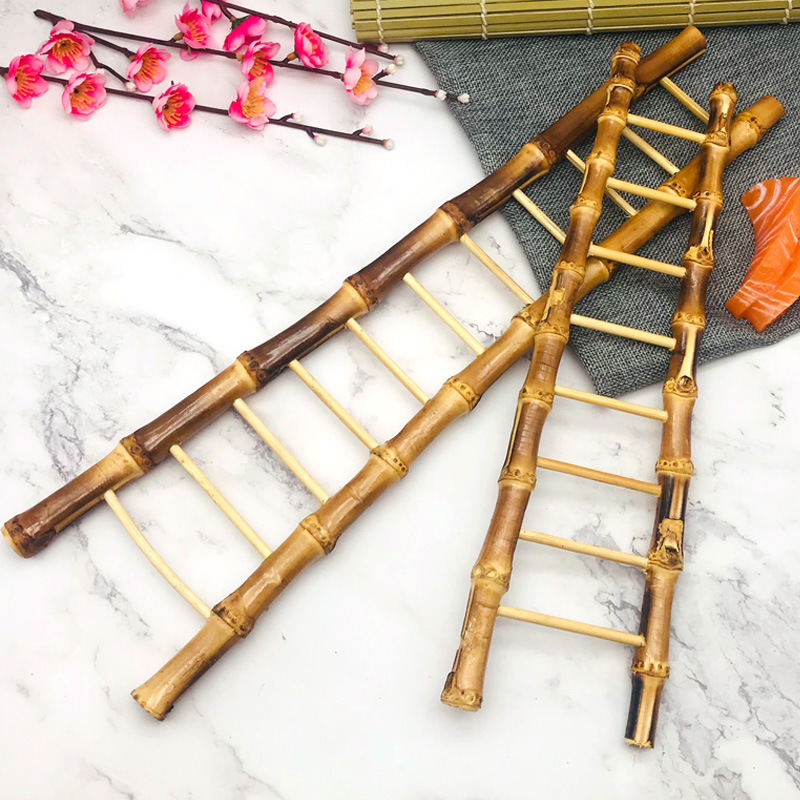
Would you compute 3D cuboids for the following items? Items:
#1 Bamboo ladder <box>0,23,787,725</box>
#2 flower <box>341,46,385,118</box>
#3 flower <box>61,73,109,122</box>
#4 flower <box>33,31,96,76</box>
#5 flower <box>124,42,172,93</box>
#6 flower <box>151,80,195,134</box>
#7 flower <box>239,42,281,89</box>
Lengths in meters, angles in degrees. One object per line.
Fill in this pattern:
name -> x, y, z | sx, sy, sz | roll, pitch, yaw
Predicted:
Bamboo ladder -> 0.136, -0.003, 1.468 | 1.151, 0.158, 0.768 | -43, 74, -8
flower -> -0.036, -0.535, 1.538 | 0.054, 0.096, 0.069 | -6, 59, 17
flower -> -0.521, -0.498, 1.514 | 0.076, 0.067, 0.037 | -29, 42, -31
flower -> -0.554, -0.573, 1.514 | 0.077, 0.080, 0.039 | -32, 36, 1
flower -> -0.430, -0.557, 1.550 | 0.076, 0.077, 0.039 | -8, 32, -39
flower -> -0.373, -0.480, 1.505 | 0.074, 0.077, 0.040 | -12, 24, -31
flower -> -0.241, -0.559, 1.549 | 0.076, 0.072, 0.042 | -23, 43, -34
